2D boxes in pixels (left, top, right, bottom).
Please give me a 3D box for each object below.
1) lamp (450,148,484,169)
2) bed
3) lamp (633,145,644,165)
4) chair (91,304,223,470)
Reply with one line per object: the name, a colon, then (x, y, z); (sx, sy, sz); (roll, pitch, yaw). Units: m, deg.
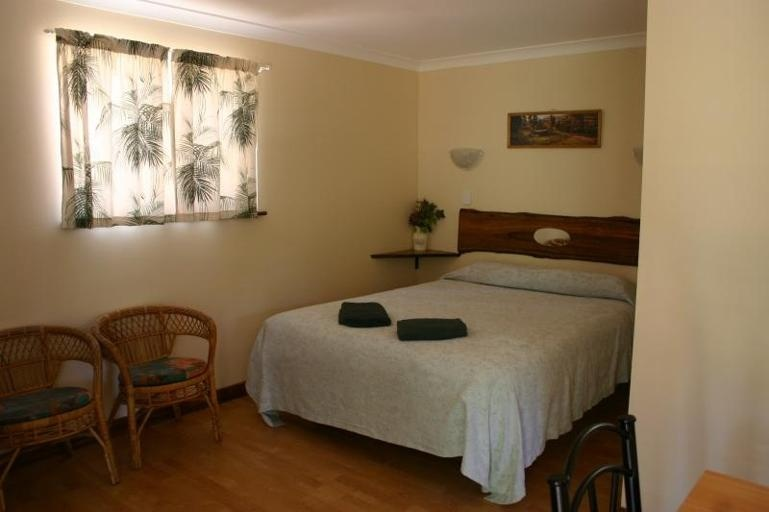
lamp: (0.844, -1.028, 5.808); (0.244, 0.158, 0.248); (1, 6, 15)
bed: (0.717, 0.499, 4.701); (2.391, 1.443, 2.990); (10, 17, 36)
lamp: (2.271, -0.910, 5.000); (0.065, 0.174, 0.331); (4, 14, 18)
chair: (-1.683, 0.809, 4.332); (1.017, 1.195, 0.998); (-4, 8, -42)
